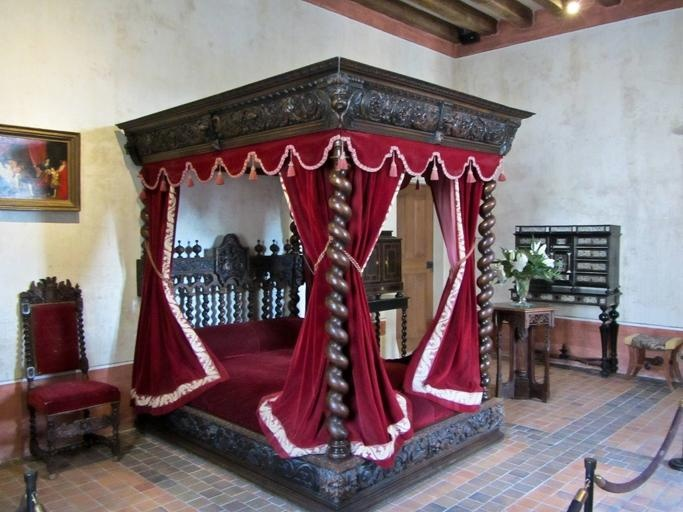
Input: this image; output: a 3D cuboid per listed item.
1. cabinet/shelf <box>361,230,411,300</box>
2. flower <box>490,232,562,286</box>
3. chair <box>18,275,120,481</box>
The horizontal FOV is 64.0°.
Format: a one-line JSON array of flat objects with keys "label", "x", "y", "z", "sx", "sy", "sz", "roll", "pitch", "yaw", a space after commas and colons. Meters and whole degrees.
[{"label": "cabinet/shelf", "x": 0.543, "y": 0.110, "z": 6.428, "sx": 0.258, "sy": 0.747, "sz": 0.746, "roll": 0, "pitch": -4, "yaw": -37}, {"label": "flower", "x": 2.146, "y": 0.089, "z": 6.425, "sx": 0.672, "sy": 0.485, "sz": 0.691, "roll": 7, "pitch": -1, "yaw": -44}, {"label": "chair", "x": -2.395, "y": 0.982, "z": 4.816, "sx": 0.709, "sy": 1.546, "sz": 0.765, "roll": -4, "pitch": 7, "yaw": -33}]
